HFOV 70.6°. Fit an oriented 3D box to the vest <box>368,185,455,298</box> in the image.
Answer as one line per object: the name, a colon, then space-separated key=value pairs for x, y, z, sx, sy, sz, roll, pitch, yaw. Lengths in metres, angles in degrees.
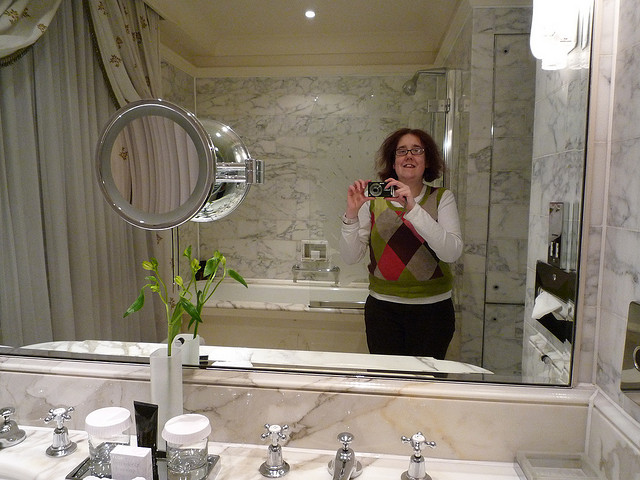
vest: x=0.241 y=0.000 z=1.251 sx=0.246 sy=0.315 sz=0.179 roll=-2 pitch=-4 yaw=16

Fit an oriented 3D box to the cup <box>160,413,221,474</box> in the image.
cup: x=-0.305 y=0.484 z=1.106 sx=0.145 sy=0.128 sz=0.146 roll=0 pitch=-3 yaw=0

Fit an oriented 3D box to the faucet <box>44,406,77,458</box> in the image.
faucet: x=-0.680 y=0.502 z=1.181 sx=0.080 sy=0.103 sz=0.082 roll=-9 pitch=-9 yaw=-12

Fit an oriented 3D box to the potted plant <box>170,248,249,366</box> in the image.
potted plant: x=-0.320 y=0.191 z=1.263 sx=0.155 sy=0.293 sz=0.233 roll=6 pitch=10 yaw=27

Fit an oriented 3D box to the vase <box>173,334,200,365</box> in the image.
vase: x=-0.360 y=0.296 z=1.234 sx=0.088 sy=0.089 sz=0.055 roll=-1 pitch=5 yaw=-1

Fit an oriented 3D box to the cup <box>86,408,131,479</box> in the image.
cup: x=-0.527 y=0.489 z=1.121 sx=0.095 sy=0.166 sz=0.181 roll=-4 pitch=2 yaw=-28

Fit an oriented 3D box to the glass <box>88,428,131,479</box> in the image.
glass: x=-0.520 y=0.509 z=1.119 sx=0.108 sy=0.119 sz=0.109 roll=1 pitch=-9 yaw=-12
